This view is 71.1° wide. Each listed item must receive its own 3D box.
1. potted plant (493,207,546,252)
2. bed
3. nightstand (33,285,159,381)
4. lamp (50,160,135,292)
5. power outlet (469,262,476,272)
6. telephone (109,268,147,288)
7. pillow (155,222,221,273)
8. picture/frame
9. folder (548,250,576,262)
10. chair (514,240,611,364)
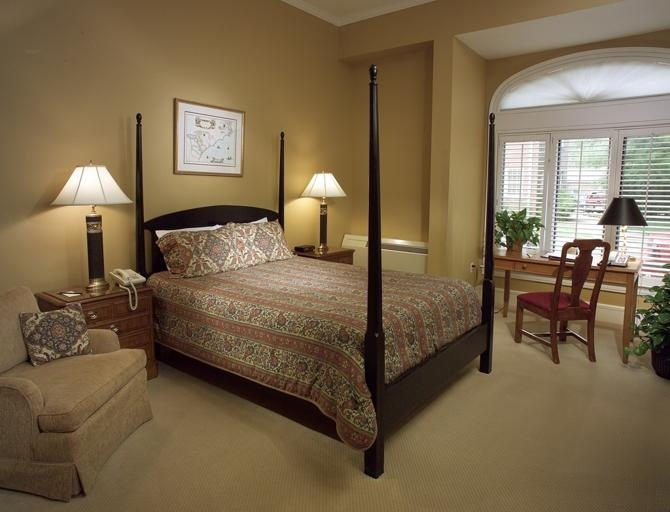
[{"bbox_3d":[2.197,-0.355,5.694,0.512,0.438,0.564,0,11,2],"label":"potted plant"},{"bbox_3d":[0.047,-0.186,4.774,2.934,3.173,2.160,8,14,38],"label":"bed"},{"bbox_3d":[-2.039,0.639,4.048,0.587,0.865,0.781,4,9,35],"label":"nightstand"},{"bbox_3d":[-2.117,-0.272,4.046,0.545,1.041,0.500,5,11,25],"label":"lamp"},{"bbox_3d":[1.855,0.152,6.343,0.075,0.163,0.145,1,5,28],"label":"power outlet"},{"bbox_3d":[-1.817,0.157,4.056,0.214,0.099,0.161,9,12,42],"label":"telephone"},{"bbox_3d":[-1.472,-0.105,4.438,0.130,0.471,0.429,-30,-17,37],"label":"pillow"},{"bbox_3d":[-1.376,-1.276,4.984,0.053,0.799,0.818,9,10,37],"label":"picture/frame"},{"bbox_3d":[2.517,-0.007,5.132,0.262,0.071,0.259,-8,11,-37],"label":"folder"},{"bbox_3d":[2.224,0.383,4.672,0.767,1.208,0.637,6,12,30],"label":"chair"}]
